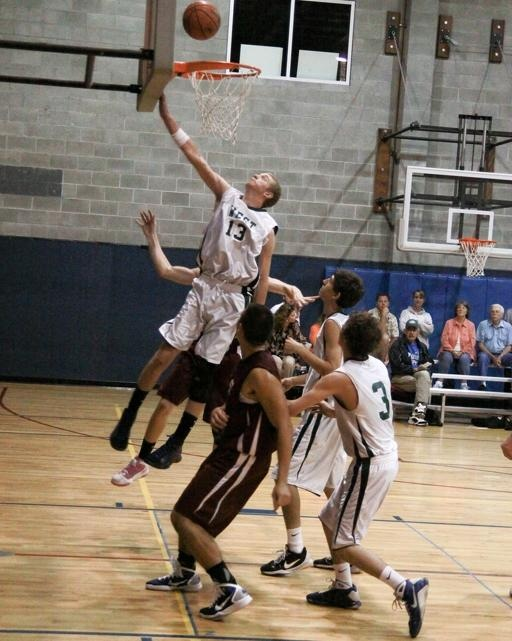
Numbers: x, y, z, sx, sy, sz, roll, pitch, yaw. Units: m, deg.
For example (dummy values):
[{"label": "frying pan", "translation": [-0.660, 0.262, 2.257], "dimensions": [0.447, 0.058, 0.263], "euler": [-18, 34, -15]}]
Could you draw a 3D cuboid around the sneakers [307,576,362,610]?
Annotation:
[{"label": "sneakers", "translation": [0.327, 1.120, 2.974], "dimensions": [0.266, 0.104, 0.086], "euler": [3, -9, 10]}]

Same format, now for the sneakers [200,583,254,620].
[{"label": "sneakers", "translation": [-0.117, 1.034, 2.659], "dimensions": [0.149, 0.141, 0.149], "euler": [6, 0, -16]}]

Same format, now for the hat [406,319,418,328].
[{"label": "hat", "translation": [1.962, 0.040, 9.075], "dimensions": [0.112, 0.133, 0.144], "euler": [1, 10, 5]}]

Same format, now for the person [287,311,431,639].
[{"label": "person", "translation": [0.408, 0.569, 2.817], "dimensions": [0.592, 1.237, 0.313], "euler": [6, 0, 12]}]

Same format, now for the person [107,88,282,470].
[{"label": "person", "translation": [-0.263, -0.189, 3.574], "dimensions": [0.716, 1.851, 0.346], "euler": [6, 0, -9]}]

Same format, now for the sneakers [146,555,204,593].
[{"label": "sneakers", "translation": [-0.368, 1.044, 2.975], "dimensions": [0.293, 0.153, 0.098], "euler": [3, -7, 2]}]

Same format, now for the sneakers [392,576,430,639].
[{"label": "sneakers", "translation": [0.565, 1.025, 2.630], "dimensions": [0.134, 0.253, 0.089], "euler": [-2, 18, 0]}]

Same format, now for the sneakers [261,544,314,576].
[{"label": "sneakers", "translation": [0.141, 1.103, 3.331], "dimensions": [0.260, 0.105, 0.093], "euler": [-17, 4, -16]}]

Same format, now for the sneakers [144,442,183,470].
[{"label": "sneakers", "translation": [-0.436, 0.650, 3.528], "dimensions": [0.090, 0.140, 0.203], "euler": [50, 14, 9]}]
